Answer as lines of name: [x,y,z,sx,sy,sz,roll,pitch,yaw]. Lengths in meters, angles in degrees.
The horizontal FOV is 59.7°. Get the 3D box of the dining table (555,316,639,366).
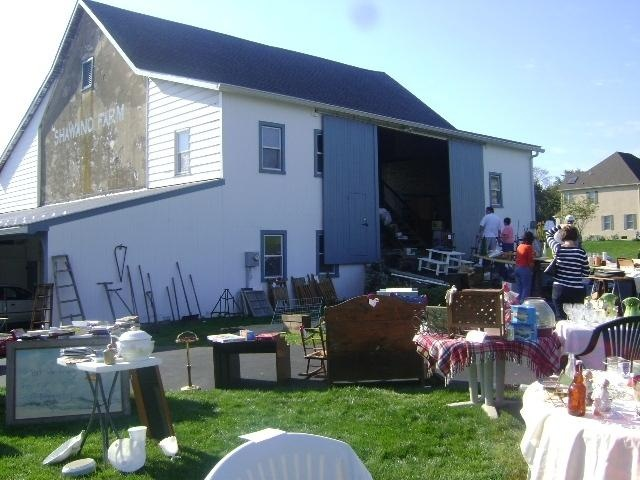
dining table: [3.326,1.272,6.974,0.870,0.414,0.939,-2,1,-22]

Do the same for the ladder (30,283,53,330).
ladder: [-7.044,1.696,14.088,0.464,1.155,2.768,-2,-3,-27]

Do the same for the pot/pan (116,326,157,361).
pot/pan: [-2.041,1.140,6.169,0.318,0.351,0.337,-3,-3,-21]

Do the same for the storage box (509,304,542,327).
storage box: [2.497,0.924,6.772,0.327,0.288,0.209,0,-1,7]

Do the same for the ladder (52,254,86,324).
ladder: [-6.150,1.206,13.559,0.701,1.708,0.567,-2,-3,-31]

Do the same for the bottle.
bottle: [2.161,1.135,4.550,0.372,0.438,0.397,-2,5,-22]

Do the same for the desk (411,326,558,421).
desk: [2.246,1.723,7.367,1.564,1.054,1.761,-6,-4,14]

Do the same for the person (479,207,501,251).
person: [5.627,-0.359,18.486,0.567,1.306,1.752,-5,-2,26]

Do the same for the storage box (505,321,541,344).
storage box: [2.458,1.134,6.734,0.333,0.213,0.112,-5,-2,9]

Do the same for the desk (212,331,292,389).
desk: [-1.059,1.975,9.039,1.016,0.812,0.667,-4,-3,19]

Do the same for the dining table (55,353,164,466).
dining table: [-2.534,1.909,6.384,1.106,1.020,1.112,12,-11,-36]

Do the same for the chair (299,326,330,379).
chair: [-0.090,1.913,9.499,0.600,0.841,0.502,-7,-10,23]

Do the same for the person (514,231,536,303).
person: [4.684,0.628,12.703,0.450,1.392,0.999,-4,-2,20]
